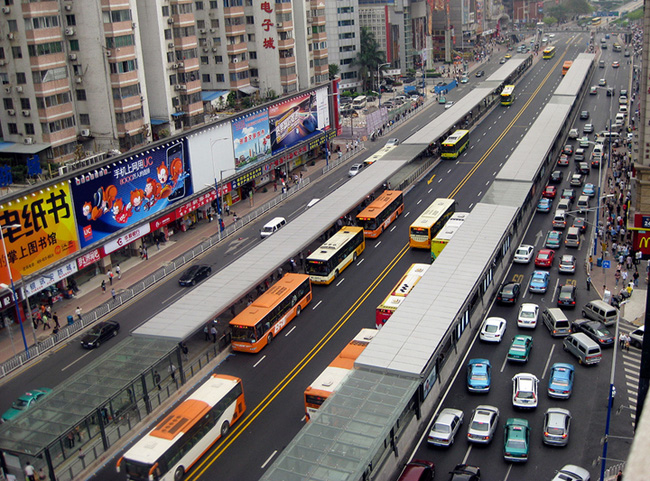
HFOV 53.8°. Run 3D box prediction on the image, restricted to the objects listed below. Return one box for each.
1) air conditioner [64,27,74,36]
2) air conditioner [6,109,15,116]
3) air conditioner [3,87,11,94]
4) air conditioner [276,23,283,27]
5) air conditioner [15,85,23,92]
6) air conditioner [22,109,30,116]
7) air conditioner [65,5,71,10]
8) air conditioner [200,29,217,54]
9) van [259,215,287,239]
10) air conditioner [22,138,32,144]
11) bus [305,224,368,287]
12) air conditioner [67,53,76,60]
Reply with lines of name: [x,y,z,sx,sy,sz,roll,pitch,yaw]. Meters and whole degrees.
air conditioner: [-35.982,-29.218,89.969,0.934,1.132,1.096,3,19,17]
air conditioner: [-43.365,-17.839,88.328,1.098,0.976,0.639,8,15,29]
air conditioner: [-43.721,-20.605,88.105,1.048,0.709,0.823,7,-7,0]
air conditioner: [-9.345,-43.763,130.547,0.803,0.613,0.906,0,11,-2]
air conditioner: [-41.499,-20.611,87.095,0.866,0.880,0.277,0,18,20]
air conditioner: [-40.868,-17.380,87.670,1.144,0.922,0.672,9,21,33]
air conditioner: [-35.919,-32.378,89.408,0.751,0.506,0.569,2,3,0]
air conditioner: [-23.482,-39.451,127.964,2.887,4.580,1.774,-11,18,-13]
van: [-7.628,-2.060,92.187,2.409,2.257,3.769,6,20,25]
air conditioner: [-41.129,-13.733,88.512,0.743,0.706,1.150,0,2,-10]
bus: [1.565,1.931,82.357,3.280,3.888,12.391,4,25,20]
air conditioner: [-36.024,-26.018,91.226,0.997,1.090,0.606,3,11,17]
